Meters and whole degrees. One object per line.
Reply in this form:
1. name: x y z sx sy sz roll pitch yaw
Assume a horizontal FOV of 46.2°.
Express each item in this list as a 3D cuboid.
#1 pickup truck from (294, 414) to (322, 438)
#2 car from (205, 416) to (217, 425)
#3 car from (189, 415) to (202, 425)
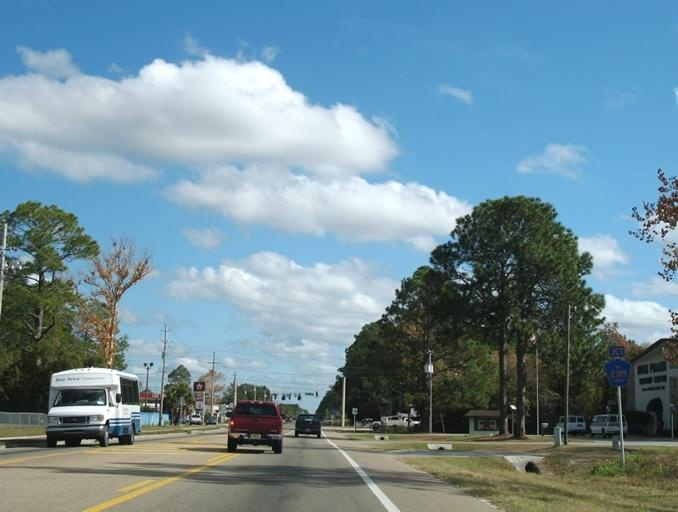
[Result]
1. pickup truck: -2.386 13.411 63.083 1.917 1.858 1.930 2 -16 3
2. car: -18.160 23.780 113.143 1.363 1.355 2.635 1 0 1
3. car: -19.619 22.534 109.380 0.996 0.976 2.385 1 -1 -2
